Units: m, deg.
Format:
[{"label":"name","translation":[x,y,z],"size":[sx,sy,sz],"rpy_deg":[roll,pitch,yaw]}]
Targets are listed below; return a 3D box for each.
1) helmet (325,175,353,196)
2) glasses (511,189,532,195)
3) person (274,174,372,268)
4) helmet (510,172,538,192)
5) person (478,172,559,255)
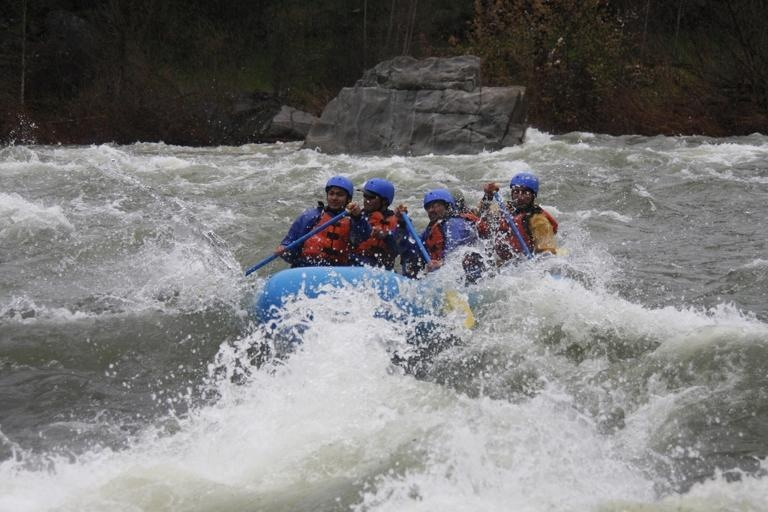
[{"label":"helmet","translation":[-0.677,-1.075,16.221],"size":[0.311,0.275,0.398],"rpy_deg":[13,2,10]},{"label":"glasses","translation":[2.126,-0.996,16.200],"size":[0.193,0.067,0.136],"rpy_deg":[5,1,-25]},{"label":"person","translation":[-0.972,-0.503,16.651],"size":[1.352,1.058,1.772],"rpy_deg":[7,56,1]},{"label":"helmet","translation":[2.192,-1.159,16.333],"size":[0.308,0.298,0.415],"rpy_deg":[17,13,33]},{"label":"person","translation":[2.074,-0.567,16.169],"size":[1.396,1.192,1.087],"rpy_deg":[12,30,16]}]
